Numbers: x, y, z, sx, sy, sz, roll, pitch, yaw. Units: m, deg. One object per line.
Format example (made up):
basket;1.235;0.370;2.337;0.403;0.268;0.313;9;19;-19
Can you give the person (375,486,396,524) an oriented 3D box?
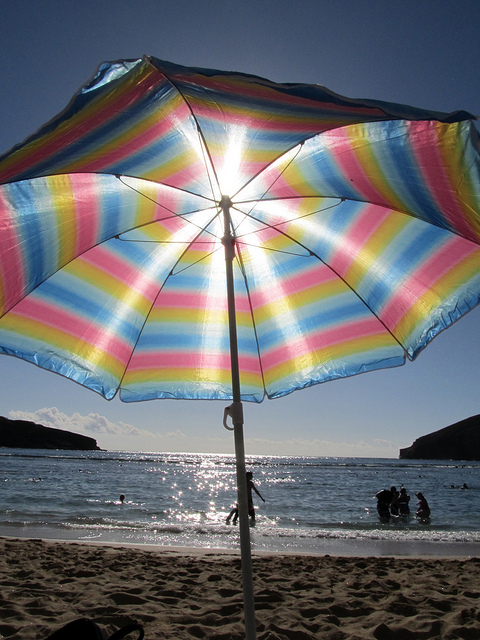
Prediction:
person;4.293;5.368;15.825;0.541;0.959;0.912;-7;-22;13

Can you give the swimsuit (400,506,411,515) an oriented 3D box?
swimsuit;4.861;5.575;15.838;0.329;0.188;0.264;3;-21;-12

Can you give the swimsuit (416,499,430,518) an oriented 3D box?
swimsuit;5.359;5.520;15.886;0.344;0.498;0.391;-5;-22;8

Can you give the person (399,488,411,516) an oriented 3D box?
person;4.798;5.301;15.818;0.320;0.763;0.786;-5;-22;9

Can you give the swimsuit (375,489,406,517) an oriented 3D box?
swimsuit;4.368;5.403;15.959;0.593;0.741;0.406;7;-24;-21
